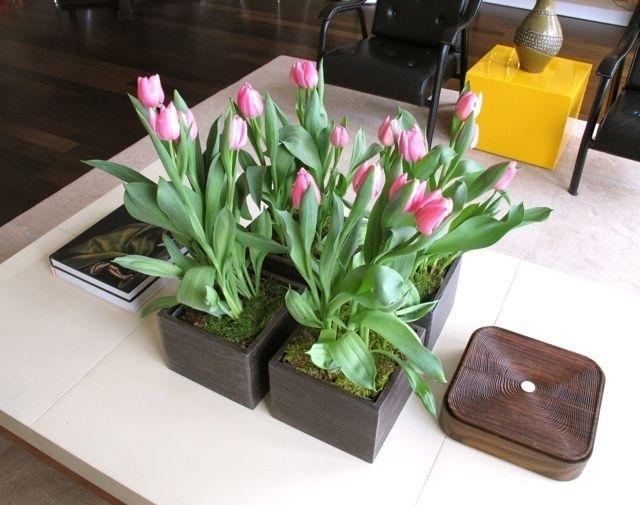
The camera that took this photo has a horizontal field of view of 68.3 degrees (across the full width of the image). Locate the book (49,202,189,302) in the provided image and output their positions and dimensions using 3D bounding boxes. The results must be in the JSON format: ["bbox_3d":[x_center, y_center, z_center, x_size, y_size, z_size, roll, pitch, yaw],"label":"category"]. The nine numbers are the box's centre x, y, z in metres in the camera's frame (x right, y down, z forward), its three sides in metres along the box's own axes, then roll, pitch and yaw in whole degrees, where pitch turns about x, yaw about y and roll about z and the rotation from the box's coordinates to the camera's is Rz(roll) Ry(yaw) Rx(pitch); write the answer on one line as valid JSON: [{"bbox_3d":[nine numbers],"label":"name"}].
[{"bbox_3d":[-0.503,-0.006,1.154,0.223,0.052,0.227,26,48,24],"label":"book"}]

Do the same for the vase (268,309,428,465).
[{"bbox_3d":[0.042,0.219,0.825,0.252,0.150,0.235,22,46,20],"label":"vase"}]

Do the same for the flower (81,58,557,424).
[{"bbox_3d":[-0.027,-0.034,0.967,0.759,0.515,0.699,27,50,10],"label":"flower"}]
